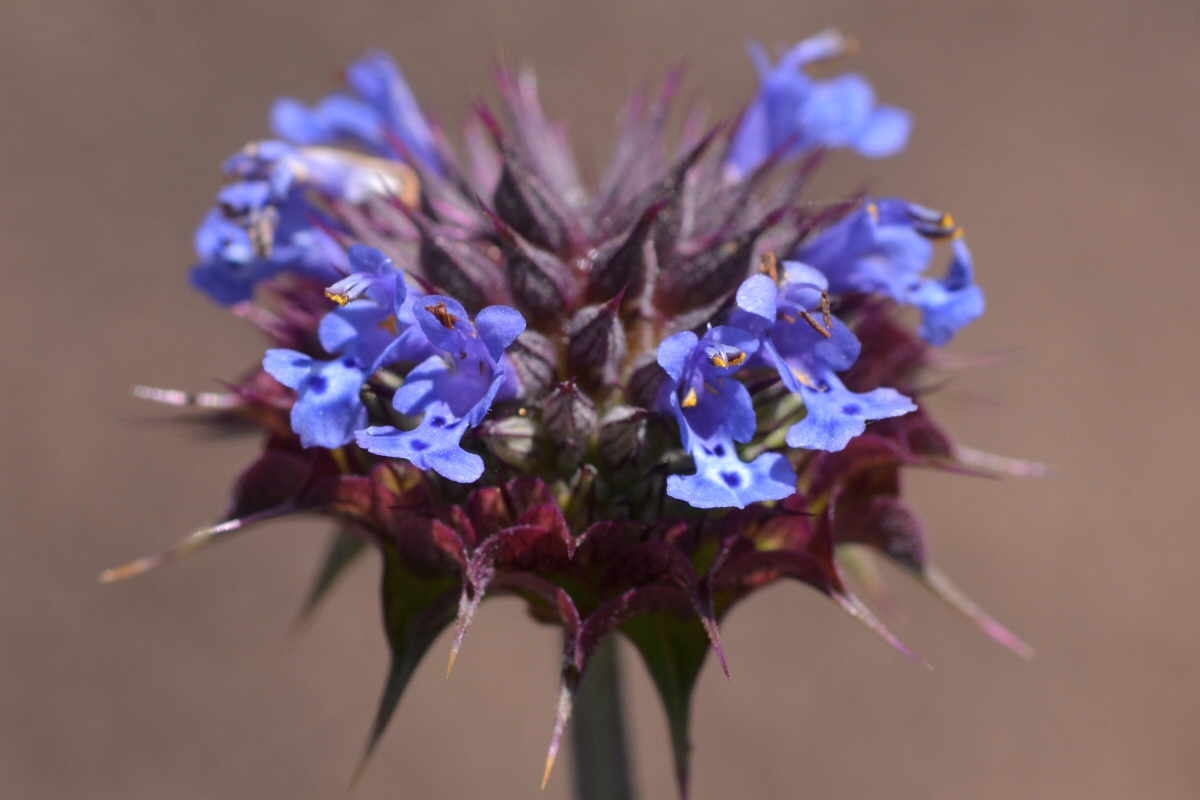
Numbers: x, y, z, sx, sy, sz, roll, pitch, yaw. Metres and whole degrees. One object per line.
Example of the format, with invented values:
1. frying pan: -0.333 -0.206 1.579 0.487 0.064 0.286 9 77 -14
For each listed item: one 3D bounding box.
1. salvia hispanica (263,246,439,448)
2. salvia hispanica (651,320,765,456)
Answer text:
1. salvia hispanica: -0.636 -0.094 3.825 0.379 0.197 0.590 33 -70 29
2. salvia hispanica: 0.260 -0.034 3.767 0.272 0.303 0.315 -9 -87 20
